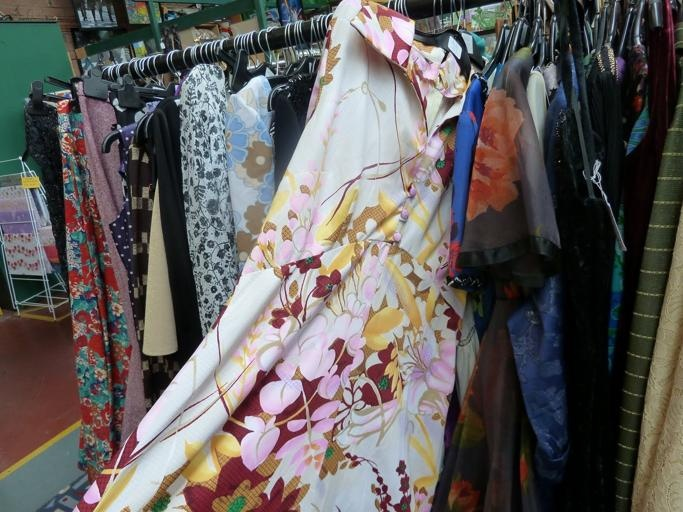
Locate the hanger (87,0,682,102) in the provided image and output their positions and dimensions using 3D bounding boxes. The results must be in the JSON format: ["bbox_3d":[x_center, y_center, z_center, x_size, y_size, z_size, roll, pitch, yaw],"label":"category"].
[{"bbox_3d":[-0.203,-0.601,1.839,1.270,0.107,0.312,1,24,27],"label":"hanger"}]
